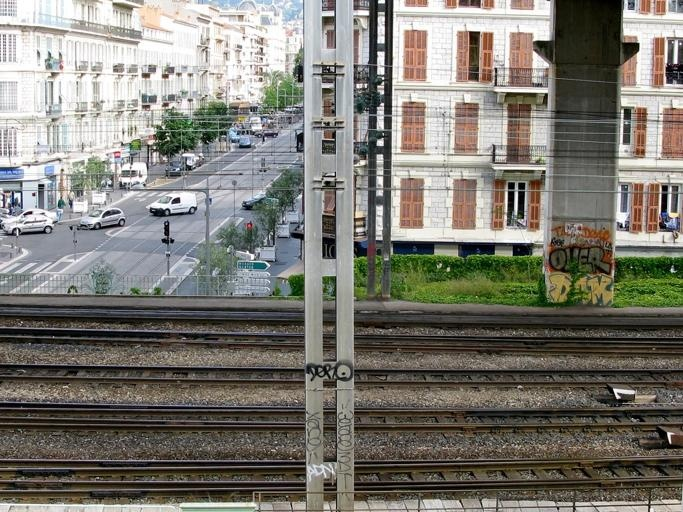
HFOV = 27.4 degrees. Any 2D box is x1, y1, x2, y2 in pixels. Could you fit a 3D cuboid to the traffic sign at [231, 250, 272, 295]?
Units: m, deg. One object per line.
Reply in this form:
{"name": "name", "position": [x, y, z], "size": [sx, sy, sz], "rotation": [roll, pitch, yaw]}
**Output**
{"name": "traffic sign", "position": [-4.626, 0.909, 69.856], "size": [1.975, 0.972, 2.542], "rotation": [1, 5, -5]}

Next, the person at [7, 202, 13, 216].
{"name": "person", "position": [-21.984, -3.091, 92.188], "size": [0.673, 0.884, 0.329], "rotation": [3, -2, 39]}

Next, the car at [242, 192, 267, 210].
{"name": "car", "position": [-5.869, -3.733, 95.536], "size": [1.088, 0.775, 2.292], "rotation": [2, 11, 39]}

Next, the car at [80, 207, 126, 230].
{"name": "car", "position": [-15.539, -2.365, 90.067], "size": [1.346, 0.970, 2.311], "rotation": [4, 5, 42]}

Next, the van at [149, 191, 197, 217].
{"name": "van", "position": [-11.451, -3.474, 94.648], "size": [2.874, 1.171, 1.539], "rotation": [-2, 4, -41]}

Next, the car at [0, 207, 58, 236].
{"name": "car", "position": [-19.480, -2.064, 87.735], "size": [2.876, 0.883, 1.352], "rotation": [-2, 13, -34]}
